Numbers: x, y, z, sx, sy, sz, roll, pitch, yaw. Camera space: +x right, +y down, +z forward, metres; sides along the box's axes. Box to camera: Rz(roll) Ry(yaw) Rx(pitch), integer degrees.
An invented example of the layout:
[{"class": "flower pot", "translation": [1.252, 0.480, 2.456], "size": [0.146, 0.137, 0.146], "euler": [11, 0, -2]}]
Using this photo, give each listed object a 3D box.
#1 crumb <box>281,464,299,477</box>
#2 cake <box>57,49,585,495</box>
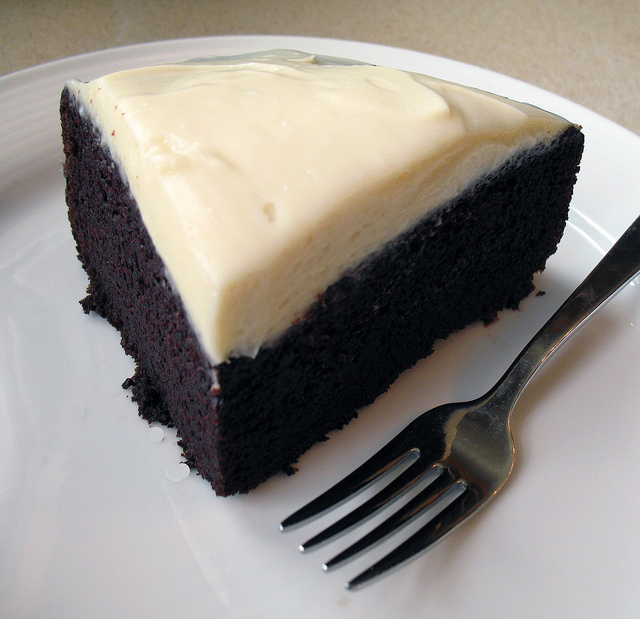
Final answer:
[{"class": "crumb", "translation": [-0.057, 0.296, 1.546], "size": [0.022, 0.007, 0.023], "euler": [24, 35, 29]}, {"class": "cake", "translation": [0.085, -0.060, 1.765], "size": [1.009, 0.521, 0.853], "euler": [-19, 52, -26]}]
